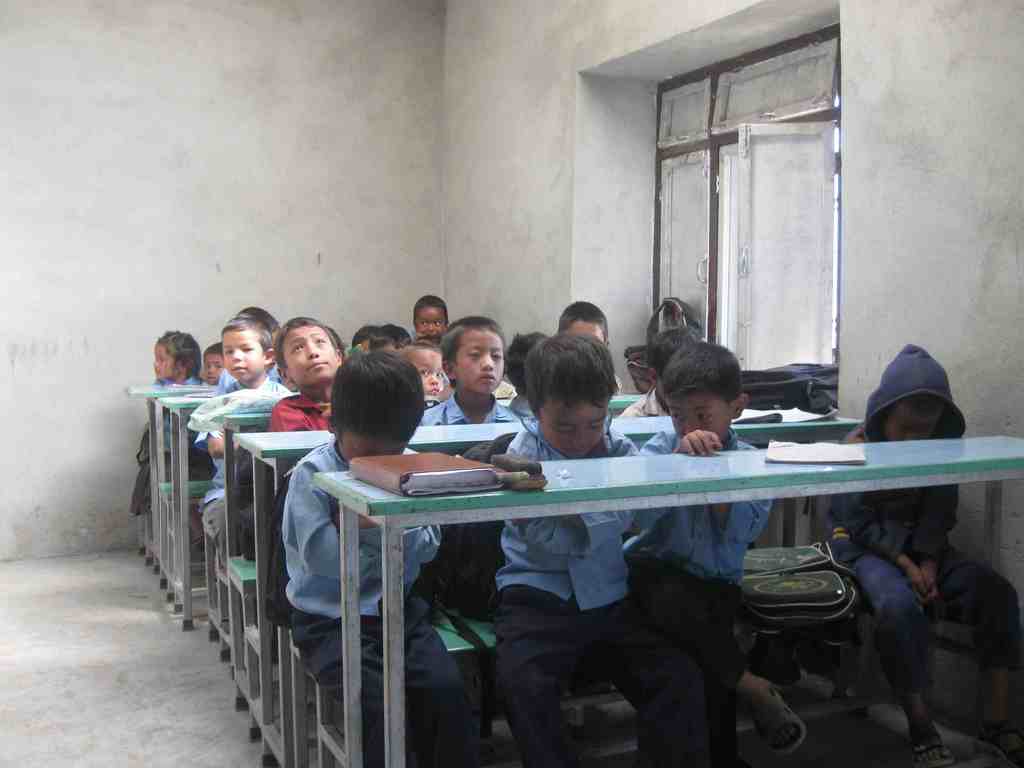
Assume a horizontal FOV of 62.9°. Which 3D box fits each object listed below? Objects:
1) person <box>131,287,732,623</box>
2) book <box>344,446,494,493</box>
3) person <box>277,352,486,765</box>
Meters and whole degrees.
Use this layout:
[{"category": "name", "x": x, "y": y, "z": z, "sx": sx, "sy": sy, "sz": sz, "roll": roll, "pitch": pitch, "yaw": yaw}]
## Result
[{"category": "person", "x": -0.231, "y": 0.298, "z": 2.112, "sx": 1.074, "sy": 0.515, "sz": 0.736, "roll": -2, "pitch": 5, "yaw": -32}, {"category": "book", "x": -0.176, "y": 0.170, "z": 1.600, "sx": 0.191, "sy": 0.046, "sz": 0.293, "roll": -3, "pitch": 4, "yaw": -31}, {"category": "person", "x": -0.313, "y": 0.403, "z": 1.853, "sx": 0.372, "sy": 0.943, "sz": 0.572, "roll": -3, "pitch": 4, "yaw": -16}]
